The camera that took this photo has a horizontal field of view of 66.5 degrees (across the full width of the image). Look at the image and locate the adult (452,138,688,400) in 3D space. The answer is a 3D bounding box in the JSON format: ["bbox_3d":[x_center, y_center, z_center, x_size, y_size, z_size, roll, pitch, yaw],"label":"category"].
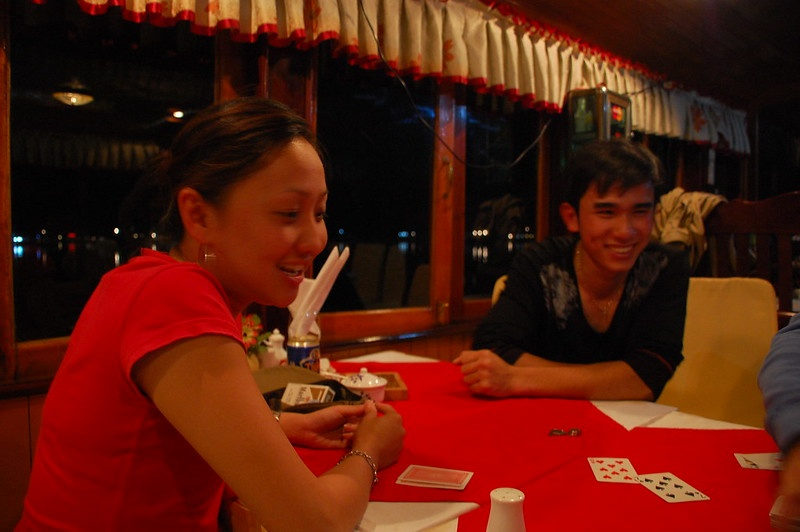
[{"bbox_3d":[0.772,0.023,2.730,0.945,1.173,0.721,5,-2,-13],"label":"adult"}]

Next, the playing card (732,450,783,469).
[{"bbox_3d":[1.096,0.592,1.851,0.155,0.003,0.051,-1,39,7],"label":"playing card"}]

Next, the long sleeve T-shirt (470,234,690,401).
[{"bbox_3d":[0.779,0.410,2.736,0.820,1.019,0.614,7,10,13],"label":"long sleeve T-shirt"}]

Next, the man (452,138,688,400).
[{"bbox_3d":[0.770,0.025,2.717,0.929,1.163,0.713,5,-1,-15],"label":"man"}]

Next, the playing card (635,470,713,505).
[{"bbox_3d":[0.780,0.637,1.754,0.135,0.008,0.074,10,33,26],"label":"playing card"}]

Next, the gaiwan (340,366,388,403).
[{"bbox_3d":[-0.136,0.439,2.285,0.129,0.073,0.101,-1,-1,38],"label":"gaiwan"}]
